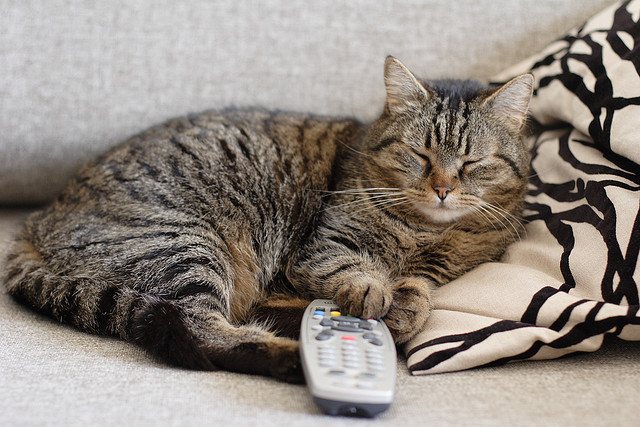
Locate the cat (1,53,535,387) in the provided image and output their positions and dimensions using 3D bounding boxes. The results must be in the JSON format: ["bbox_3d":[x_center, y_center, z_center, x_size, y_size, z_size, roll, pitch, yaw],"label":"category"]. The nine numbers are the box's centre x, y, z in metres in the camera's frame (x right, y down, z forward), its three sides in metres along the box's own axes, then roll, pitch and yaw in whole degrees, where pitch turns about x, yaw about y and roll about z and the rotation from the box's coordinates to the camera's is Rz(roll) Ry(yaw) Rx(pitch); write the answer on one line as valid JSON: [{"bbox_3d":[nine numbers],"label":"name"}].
[{"bbox_3d":[-0.118,-0.081,2.065,1.511,0.851,0.957,-5,26,-31],"label":"cat"}]
